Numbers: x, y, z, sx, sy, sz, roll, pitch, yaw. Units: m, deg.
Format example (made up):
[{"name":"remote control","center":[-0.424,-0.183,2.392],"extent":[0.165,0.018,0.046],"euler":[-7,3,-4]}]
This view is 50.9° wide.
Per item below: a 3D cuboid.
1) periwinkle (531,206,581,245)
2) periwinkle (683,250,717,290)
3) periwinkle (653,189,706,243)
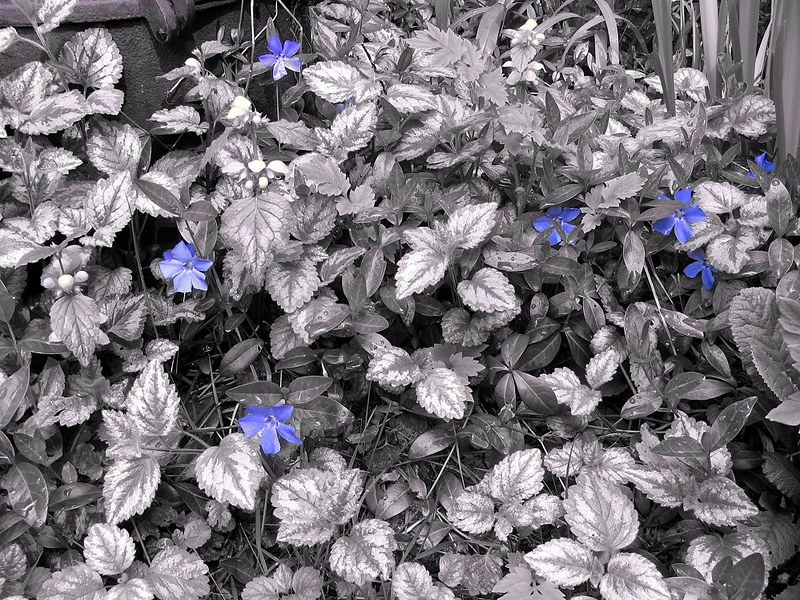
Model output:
[{"name":"periwinkle","center":[0.589,-0.274,3.098],"extent":[0.180,0.119,0.184],"euler":[-5,42,6]},{"name":"periwinkle","center":[1.111,-0.111,3.088],"extent":[0.122,0.141,0.064],"euler":[27,22,27]},{"name":"periwinkle","center":[1.025,-0.312,3.054],"extent":[0.203,0.162,0.128],"euler":[-29,44,-19]}]
